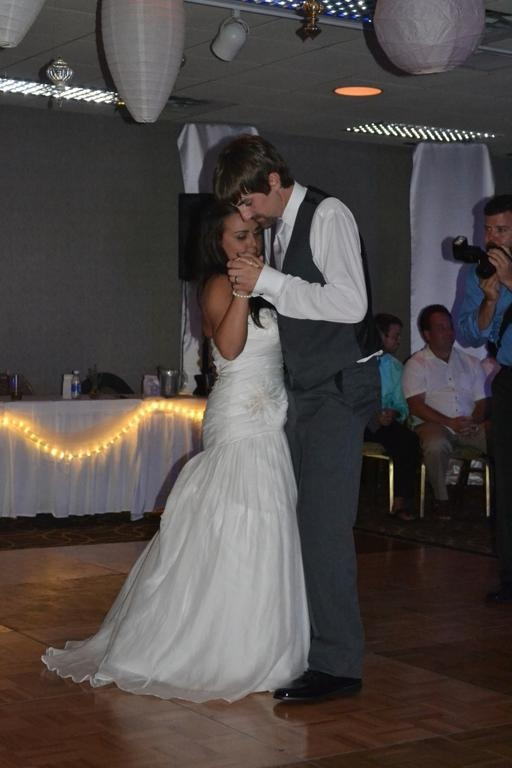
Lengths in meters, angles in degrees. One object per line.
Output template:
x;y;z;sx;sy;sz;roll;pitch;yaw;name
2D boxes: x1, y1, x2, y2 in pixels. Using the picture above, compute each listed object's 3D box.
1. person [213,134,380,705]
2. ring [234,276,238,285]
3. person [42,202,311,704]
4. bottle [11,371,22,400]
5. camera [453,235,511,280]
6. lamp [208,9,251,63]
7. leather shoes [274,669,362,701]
0.126;0.110;1.835;0.391;1.461;0.449;0;-1;16;person
-0.050;-0.257;1.757;0.005;0.014;0.016;1;11;-22;ring
-0.188;0.142;2.046;0.822;1.316;0.710;-4;12;-14;person
-1.591;0.019;4.627;0.072;0.167;0.194;0;-1;-19;bottle
1.052;-0.613;3.362;0.307;0.129;0.169;40;3;39;camera
-0.141;-1.931;3.828;0.168;0.278;0.157;1;-2;-34;lamp
0.165;0.790;1.893;0.233;0.079;0.080;2;-6;-19;leather shoes
